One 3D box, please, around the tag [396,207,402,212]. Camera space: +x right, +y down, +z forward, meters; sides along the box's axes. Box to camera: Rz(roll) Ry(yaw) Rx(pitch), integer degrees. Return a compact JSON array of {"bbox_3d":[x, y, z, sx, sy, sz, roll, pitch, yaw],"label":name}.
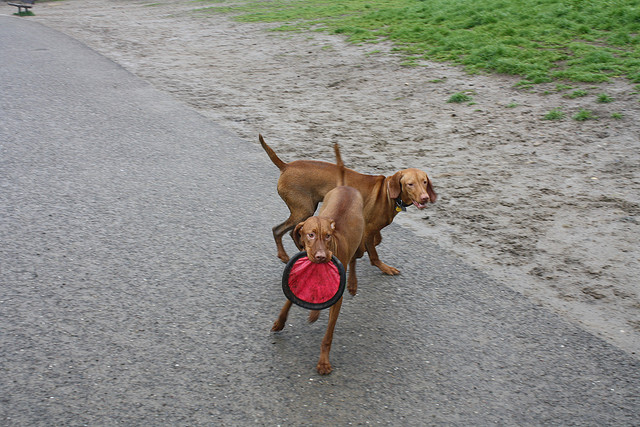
[{"bbox_3d":[1.055,-0.063,8.968,0.071,0.015,0.050,-1,42,5],"label":"tag"}]
